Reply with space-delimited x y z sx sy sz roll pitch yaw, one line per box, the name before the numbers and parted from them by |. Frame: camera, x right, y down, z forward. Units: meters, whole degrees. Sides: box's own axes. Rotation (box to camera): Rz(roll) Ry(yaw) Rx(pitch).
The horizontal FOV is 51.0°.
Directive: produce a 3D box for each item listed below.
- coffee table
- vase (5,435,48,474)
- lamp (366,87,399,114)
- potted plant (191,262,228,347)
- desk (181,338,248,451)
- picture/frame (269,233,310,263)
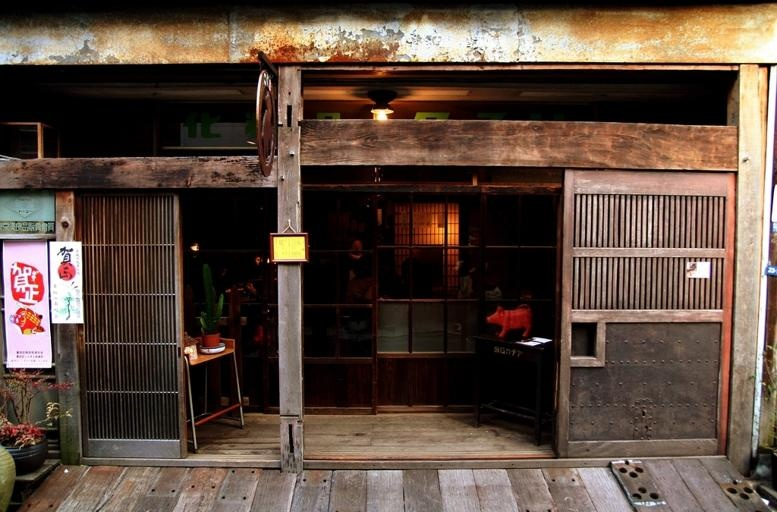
coffee table | 1.606 2.071 11.706 1.604 1.776 0.760 1 -8 -16
vase | -4.757 2.667 10.875 0.414 0.262 0.427 0 -2 -4
lamp | -0.075 -2.375 12.275 0.360 0.239 0.346 1 -18 -3
potted plant | -2.632 0.712 12.140 0.431 1.249 1.480 -3 3 -12
desk | -2.643 1.927 11.611 0.725 1.261 1.057 3 7 31
picture/frame | -1.322 -0.110 10.964 0.425 0.347 0.045 0 2 -3
